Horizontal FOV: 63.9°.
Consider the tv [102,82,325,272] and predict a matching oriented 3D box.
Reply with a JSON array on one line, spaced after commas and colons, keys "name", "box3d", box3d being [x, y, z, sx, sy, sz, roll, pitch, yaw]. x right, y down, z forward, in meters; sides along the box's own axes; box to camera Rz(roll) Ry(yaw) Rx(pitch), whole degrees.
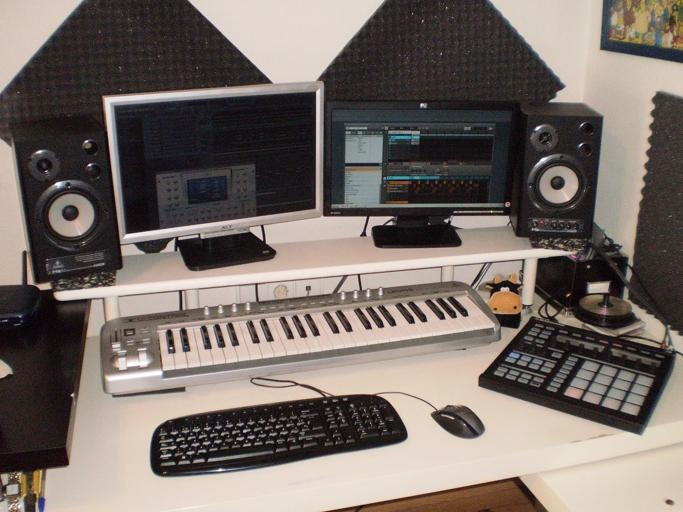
[{"name": "tv", "box3d": [-0.380, -0.238, 1.581, 0.607, 0.424, 0.194, -9, 30, -18]}]

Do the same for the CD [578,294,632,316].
[{"name": "CD", "box3d": [0.853, 0.162, 1.776, 0.101, 0.032, 0.100, 15, 29, 34]}]

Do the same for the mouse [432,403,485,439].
[{"name": "mouse", "box3d": [0.294, 0.409, 1.356, 0.096, 0.028, 0.071, 21, 28, 37]}]
